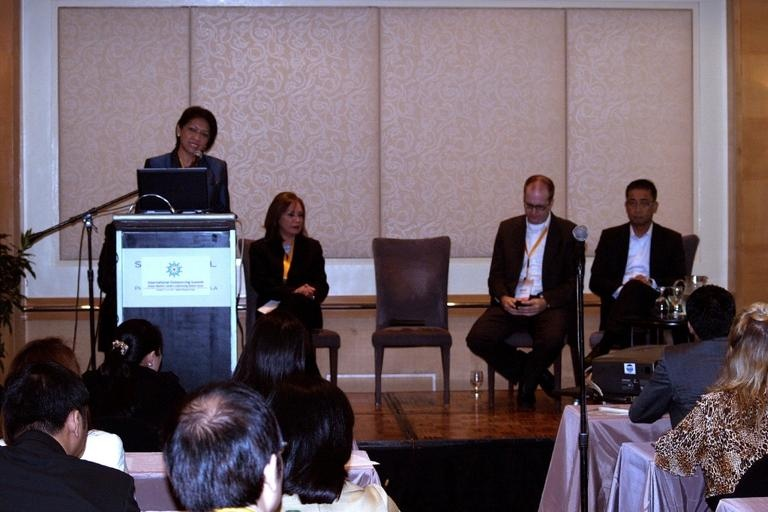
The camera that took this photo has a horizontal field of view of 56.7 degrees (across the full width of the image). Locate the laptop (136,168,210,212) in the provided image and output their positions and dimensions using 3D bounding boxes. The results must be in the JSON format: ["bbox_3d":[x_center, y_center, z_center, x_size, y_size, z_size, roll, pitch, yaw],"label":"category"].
[{"bbox_3d":[-1.131,-0.371,3.997,0.380,0.245,0.289,0,9,4],"label":"laptop"}]

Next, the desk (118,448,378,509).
[{"bbox_3d":[-0.546,0.920,3.093,1.073,0.229,0.251,-3,5,-23],"label":"desk"}]

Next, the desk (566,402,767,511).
[{"bbox_3d":[1.265,0.903,3.155,0.664,0.470,0.620,1,-2,-32],"label":"desk"}]

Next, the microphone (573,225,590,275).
[{"bbox_3d":[1.028,-0.011,3.672,0.098,0.345,0.091,-2,30,18],"label":"microphone"}]

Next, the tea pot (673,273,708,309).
[{"bbox_3d":[1.821,0.218,4.257,0.252,0.258,0.172,0,-8,25],"label":"tea pot"}]

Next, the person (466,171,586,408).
[{"bbox_3d":[1.062,0.240,5.433,0.758,1.694,0.582,1,5,15],"label":"person"}]

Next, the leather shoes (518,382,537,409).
[{"bbox_3d":[1.048,1.021,5.257,0.129,0.176,0.143,0,5,7],"label":"leather shoes"}]

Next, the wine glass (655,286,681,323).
[{"bbox_3d":[1.879,0.336,4.741,0.177,0.287,0.181,1,-12,4],"label":"wine glass"}]

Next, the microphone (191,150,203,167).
[{"bbox_3d":[-1.114,-0.577,4.264,0.058,0.083,0.223,-2,5,-14],"label":"microphone"}]
